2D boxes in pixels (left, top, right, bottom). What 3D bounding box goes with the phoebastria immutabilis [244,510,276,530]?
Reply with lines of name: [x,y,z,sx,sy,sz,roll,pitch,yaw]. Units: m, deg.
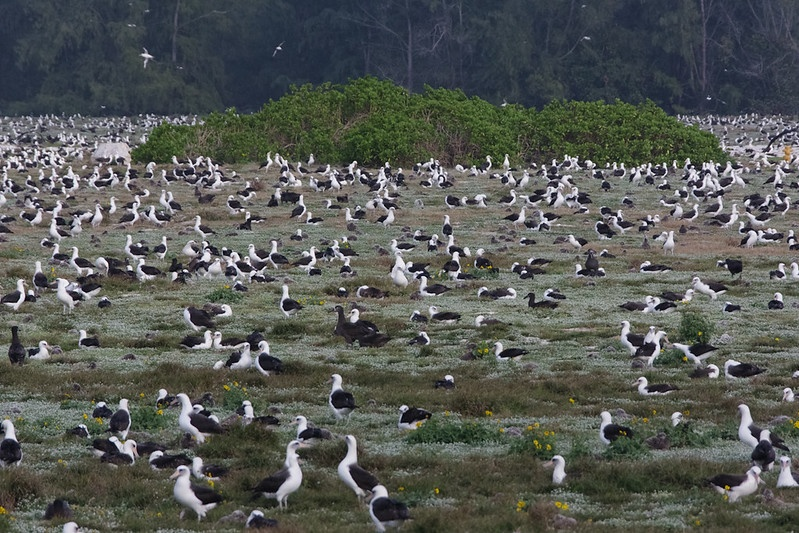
phoebastria immutabilis: [-8.748,15.895,113.253,1.447,0.695,1.118,16,-14,7]

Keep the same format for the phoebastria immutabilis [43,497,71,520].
phoebastria immutabilis: [-21.370,15.169,113.492,1.077,1.456,0.834,-1,-25,-6]
